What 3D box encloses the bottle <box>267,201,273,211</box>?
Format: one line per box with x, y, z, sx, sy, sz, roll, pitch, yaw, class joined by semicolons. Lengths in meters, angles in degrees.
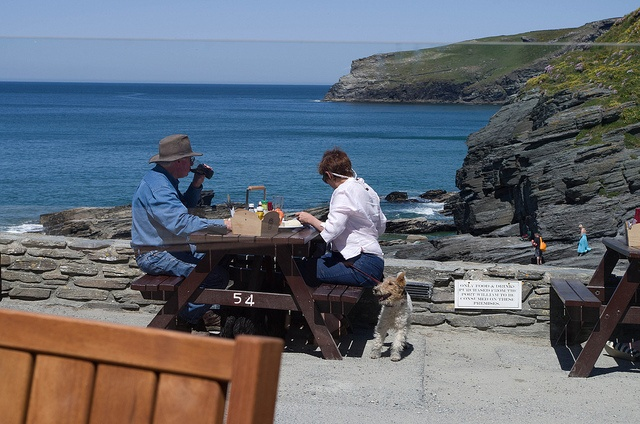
-0.543;-0.065;7.444;0.092;0.120;0.083;0;-3;0;bottle

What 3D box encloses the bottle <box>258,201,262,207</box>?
-0.650;-0.091;7.382;0.051;0.042;0.086;-1;4;-1;bottle

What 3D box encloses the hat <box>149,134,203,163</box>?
-1.618;-0.738;7.601;0.450;0.149;0.356;-8;15;-14;hat

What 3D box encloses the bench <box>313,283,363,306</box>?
0.193;0.877;7.337;0.491;0.145;0.420;-2;4;11;bench

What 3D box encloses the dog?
0.754;1.120;7.472;0.457;0.944;0.403;-3;5;10;dog

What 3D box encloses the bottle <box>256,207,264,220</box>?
-0.629;0.012;7.163;0.077;0.127;0.141;-4;4;-2;bottle

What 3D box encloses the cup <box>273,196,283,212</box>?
-0.497;-0.100;7.522;0.156;0.203;0.143;0;6;0;cup
